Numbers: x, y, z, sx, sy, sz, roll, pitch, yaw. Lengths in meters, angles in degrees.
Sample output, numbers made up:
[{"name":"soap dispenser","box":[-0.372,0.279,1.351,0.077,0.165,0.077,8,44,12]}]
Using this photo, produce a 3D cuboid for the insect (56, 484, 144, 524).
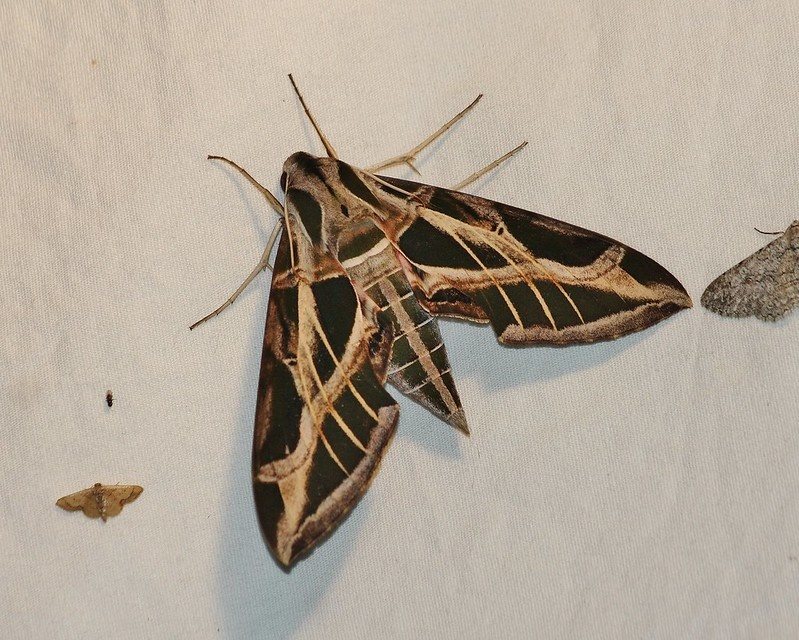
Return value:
[{"name":"insect","box":[-0.959,0.574,4.075,0.225,0.031,0.112,-5,-81,3]}]
